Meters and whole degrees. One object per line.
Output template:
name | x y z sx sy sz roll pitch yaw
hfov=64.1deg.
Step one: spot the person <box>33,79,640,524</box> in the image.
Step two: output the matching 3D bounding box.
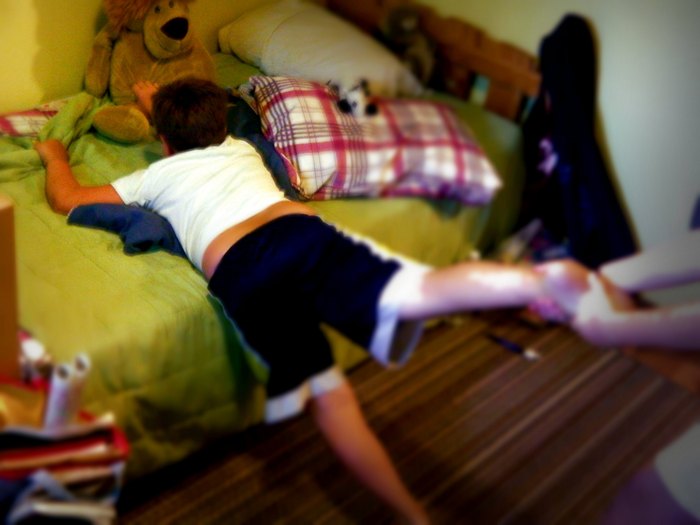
person | -0.198 0.027 1.494 0.775 0.606 1.512 -25 61 -32
